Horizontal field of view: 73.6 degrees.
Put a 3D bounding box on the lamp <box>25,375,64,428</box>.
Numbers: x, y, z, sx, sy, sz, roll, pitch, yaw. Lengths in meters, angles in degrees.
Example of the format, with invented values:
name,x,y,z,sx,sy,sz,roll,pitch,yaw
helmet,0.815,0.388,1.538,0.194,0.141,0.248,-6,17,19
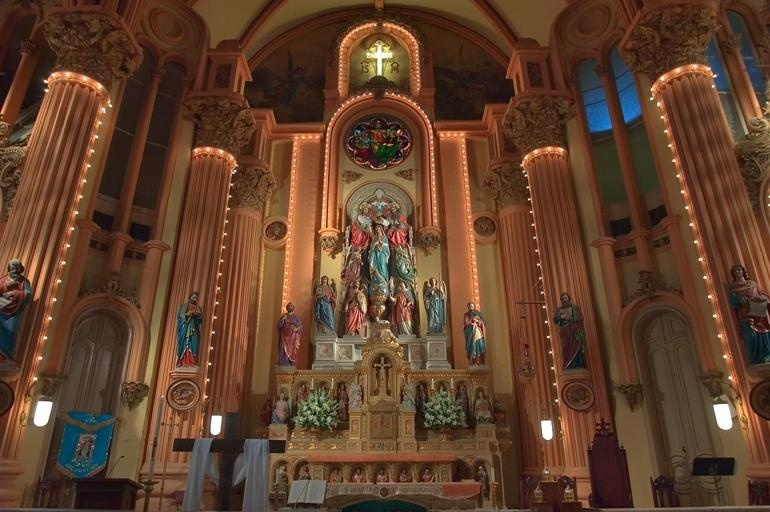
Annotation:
name,x,y,z,sx,sy,sz,roll,pitch,yaw
lamp,-7.872,3.287,11.824,0.569,1.348,2.058,17,-31,-27

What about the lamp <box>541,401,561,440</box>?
name,x,y,z,sx,sy,sz,roll,pitch,yaw
lamp,4.209,4.181,13.167,0.412,1.072,1.081,-10,-30,21

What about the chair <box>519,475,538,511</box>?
name,x,y,z,sx,sy,sz,roll,pitch,yaw
chair,3.845,6.253,13.701,0.450,0.849,1.706,-5,-28,11

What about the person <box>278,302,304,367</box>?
name,x,y,z,sx,sy,sz,roll,pitch,yaw
person,-2.850,2.357,15.137,0.679,1.836,0.521,10,-29,-16

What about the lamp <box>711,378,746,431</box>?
name,x,y,z,sx,sy,sz,roll,pitch,yaw
lamp,7.256,3.181,10.885,0.517,1.054,0.314,-16,-5,34

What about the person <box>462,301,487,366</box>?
name,x,y,z,sx,sy,sz,roll,pitch,yaw
person,2.649,2.319,15.166,0.580,1.916,0.547,-3,-28,8

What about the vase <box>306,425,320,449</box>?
name,x,y,z,sx,sy,sz,roll,pitch,yaw
vase,-1.905,4.901,13.754,0.288,0.511,0.348,5,-28,-6

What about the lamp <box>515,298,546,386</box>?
name,x,y,z,sx,sy,sz,roll,pitch,yaw
lamp,4.134,2.371,14.598,0.725,2.572,1.798,-6,-28,14

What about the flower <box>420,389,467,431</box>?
name,x,y,z,sx,sy,sz,roll,pitch,yaw
flower,1.588,4.222,13.961,1.005,1.066,1.040,-3,-22,10

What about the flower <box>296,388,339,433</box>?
name,x,y,z,sx,sy,sz,roll,pitch,yaw
flower,-1.850,4.288,14.203,1.094,0.950,1.038,-11,-25,11

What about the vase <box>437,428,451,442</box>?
name,x,y,z,sx,sy,sz,roll,pitch,yaw
vase,1.600,4.863,13.866,0.364,0.411,0.366,-15,-39,21
